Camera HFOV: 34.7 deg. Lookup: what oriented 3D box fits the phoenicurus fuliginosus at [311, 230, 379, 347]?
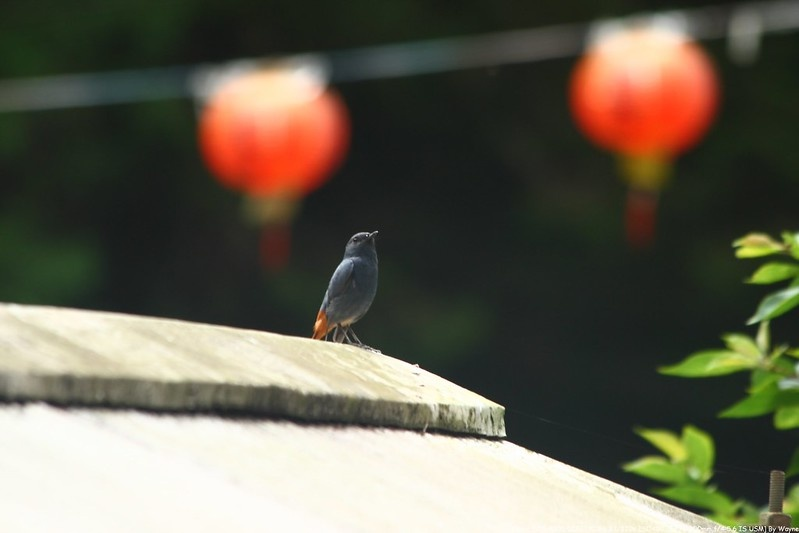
[{"bbox_3d":[-0.237,0.092,5.531,0.268,0.490,0.194,0,7,-6],"label":"phoenicurus fuliginosus"}]
